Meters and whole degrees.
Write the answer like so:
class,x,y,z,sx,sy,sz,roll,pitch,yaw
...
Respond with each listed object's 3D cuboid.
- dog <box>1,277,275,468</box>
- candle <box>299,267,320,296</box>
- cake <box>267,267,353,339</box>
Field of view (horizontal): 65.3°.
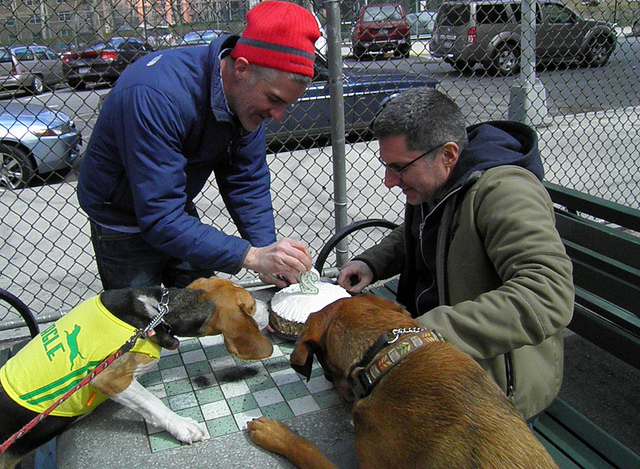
class,x,y,z,sx,sy,sz,roll,pitch,yaw
dog,-0.941,0.758,2.671,1.381,0.766,0.425,-28,23,-9
candle,-0.073,0.271,3.001,0.120,0.143,0.123,-3,26,0
cake,-0.115,0.408,3.001,0.419,0.292,0.439,-13,27,-19
